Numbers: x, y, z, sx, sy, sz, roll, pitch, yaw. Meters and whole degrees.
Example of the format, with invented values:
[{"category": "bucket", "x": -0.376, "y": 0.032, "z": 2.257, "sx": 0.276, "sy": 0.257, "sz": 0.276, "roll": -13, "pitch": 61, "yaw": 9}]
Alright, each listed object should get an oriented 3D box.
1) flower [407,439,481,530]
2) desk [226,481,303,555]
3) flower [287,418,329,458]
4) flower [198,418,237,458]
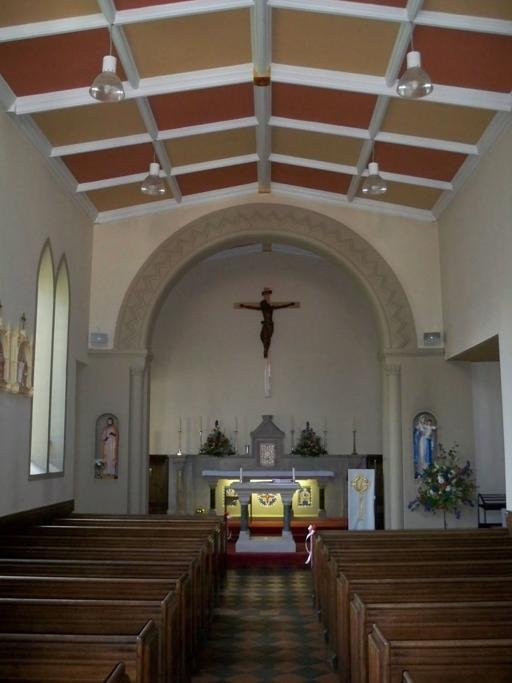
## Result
[{"category": "flower", "x": 2.688, "y": 2.114, "z": 8.987, "sx": 0.816, "sy": 1.072, "sz": 0.786, "roll": -3, "pitch": 4, "yaw": -12}, {"category": "desk", "x": 0.163, "y": 2.769, "z": 9.885, "sx": 1.024, "sy": 1.006, "sz": 0.563, "roll": -1, "pitch": -11, "yaw": 1}, {"category": "flower", "x": 1.103, "y": 2.040, "z": 12.989, "sx": 0.580, "sy": 0.637, "sz": 0.581, "roll": -9, "pitch": -15, "yaw": 35}, {"category": "flower", "x": -0.806, "y": 2.068, "z": 13.186, "sx": 0.594, "sy": 0.667, "sz": 0.594, "roll": -1, "pitch": -10, "yaw": 4}]
